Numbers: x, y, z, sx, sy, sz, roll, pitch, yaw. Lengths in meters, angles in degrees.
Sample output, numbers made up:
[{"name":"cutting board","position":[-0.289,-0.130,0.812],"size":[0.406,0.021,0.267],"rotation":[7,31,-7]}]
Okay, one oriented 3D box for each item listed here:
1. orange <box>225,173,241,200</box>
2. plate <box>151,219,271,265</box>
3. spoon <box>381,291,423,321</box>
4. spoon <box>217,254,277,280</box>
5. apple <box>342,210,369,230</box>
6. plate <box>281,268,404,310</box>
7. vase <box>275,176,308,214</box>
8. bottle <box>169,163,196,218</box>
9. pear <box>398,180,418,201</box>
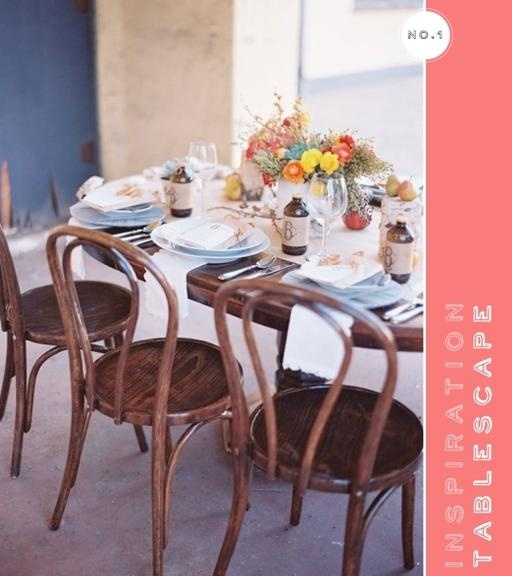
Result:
[{"name":"orange","position":[-0.072,-0.291,1.721],"size":[0.025,0.066,0.057],"rotation":[3,5,-33]},{"name":"plate","position":[-0.101,-0.090,1.264],"size":[0.158,0.023,0.143],"rotation":[1,24,-14]},{"name":"spoon","position":[0.249,0.030,1.024],"size":[0.032,0.008,0.111],"rotation":[24,25,35]},{"name":"spoon","position":[-0.009,-0.049,1.196],"size":[0.038,0.022,0.185],"rotation":[-1,11,39]},{"name":"apple","position":[0.240,-0.166,1.459],"size":[0.053,0.055,0.046],"rotation":[0,12,15]},{"name":"plate","position":[0.167,0.005,1.047],"size":[0.116,0.011,0.116],"rotation":[10,18,30]},{"name":"vase","position":[0.067,-0.218,1.423],"size":[0.081,0.077,0.079],"rotation":[0,13,-6]},{"name":"bottle","position":[-0.186,-0.253,1.541],"size":[0.096,0.130,0.086],"rotation":[-1,18,-5]},{"name":"pear","position":[0.313,-0.203,1.249],"size":[0.046,0.056,0.043],"rotation":[1,17,14]}]
